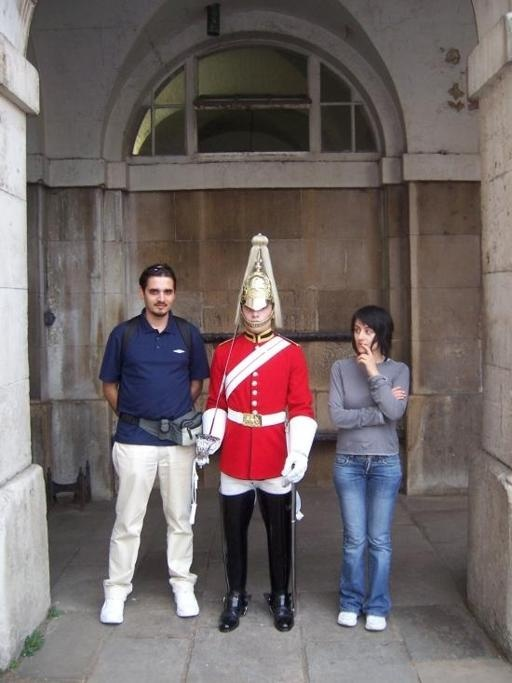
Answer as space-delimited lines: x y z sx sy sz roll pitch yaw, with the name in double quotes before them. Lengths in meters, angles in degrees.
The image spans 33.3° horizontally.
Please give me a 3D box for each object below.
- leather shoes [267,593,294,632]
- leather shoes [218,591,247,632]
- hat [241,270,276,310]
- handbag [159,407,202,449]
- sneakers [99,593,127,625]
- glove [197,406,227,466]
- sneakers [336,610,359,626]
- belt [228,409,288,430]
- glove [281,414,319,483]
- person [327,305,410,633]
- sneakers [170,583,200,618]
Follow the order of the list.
"leather shoes" 0.116 1.230 3.947 0.116 0.123 0.223 -1 6 -4
"leather shoes" -0.107 1.231 3.968 0.117 0.121 0.279 0 6 4
"hat" 0.003 -0.238 4.001 0.138 0.200 0.256 1 -2 1
"handbag" -0.340 0.409 4.025 0.133 0.165 0.070 -15 -26 -19
"sneakers" -0.670 1.243 4.007 0.112 0.100 0.193 -1 6 -9
"glove" -0.208 0.425 3.930 0.112 0.257 0.057 -2 -34 19
"sneakers" 0.421 1.265 3.916 0.105 0.055 0.090 -1 6 -3
"belt" 0.003 0.348 3.955 0.268 0.070 0.122 -1 6 -4
"glove" 0.191 0.487 3.843 0.142 0.280 0.214 0 5 5
"person" 0.512 0.560 3.949 0.361 1.447 0.353 1 5 11
"sneakers" -0.330 1.221 4.079 0.119 0.115 0.215 -1 6 -8
